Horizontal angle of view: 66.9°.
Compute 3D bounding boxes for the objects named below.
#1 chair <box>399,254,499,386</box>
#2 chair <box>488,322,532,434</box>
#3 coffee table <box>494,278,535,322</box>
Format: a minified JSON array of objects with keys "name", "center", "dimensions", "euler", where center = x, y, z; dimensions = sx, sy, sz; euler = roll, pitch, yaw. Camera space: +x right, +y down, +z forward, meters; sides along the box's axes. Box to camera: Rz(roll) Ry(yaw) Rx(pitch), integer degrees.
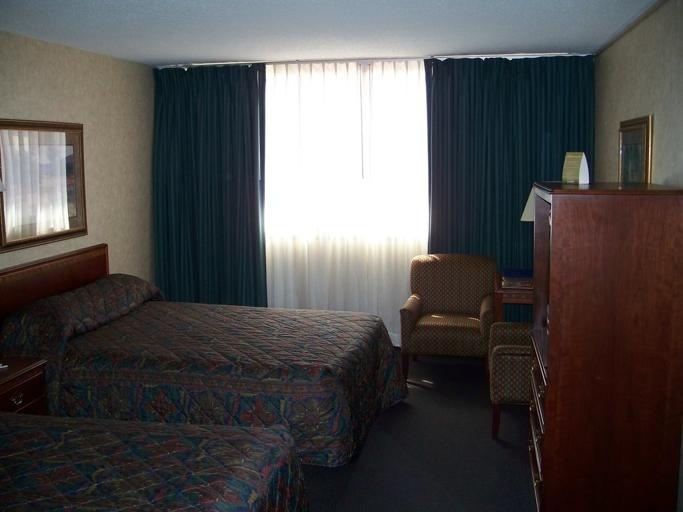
[{"name":"chair","center":[1.296,0.731,6.218],"dimensions":[1.024,1.313,1.131],"euler":[2,12,17]},{"name":"chair","center":[1.501,1.184,4.671],"dimensions":[0.357,0.989,0.640],"euler":[2,12,18]},{"name":"coffee table","center":[1.828,0.398,5.755],"dimensions":[0.530,0.634,0.436],"euler":[0,0,12]}]
